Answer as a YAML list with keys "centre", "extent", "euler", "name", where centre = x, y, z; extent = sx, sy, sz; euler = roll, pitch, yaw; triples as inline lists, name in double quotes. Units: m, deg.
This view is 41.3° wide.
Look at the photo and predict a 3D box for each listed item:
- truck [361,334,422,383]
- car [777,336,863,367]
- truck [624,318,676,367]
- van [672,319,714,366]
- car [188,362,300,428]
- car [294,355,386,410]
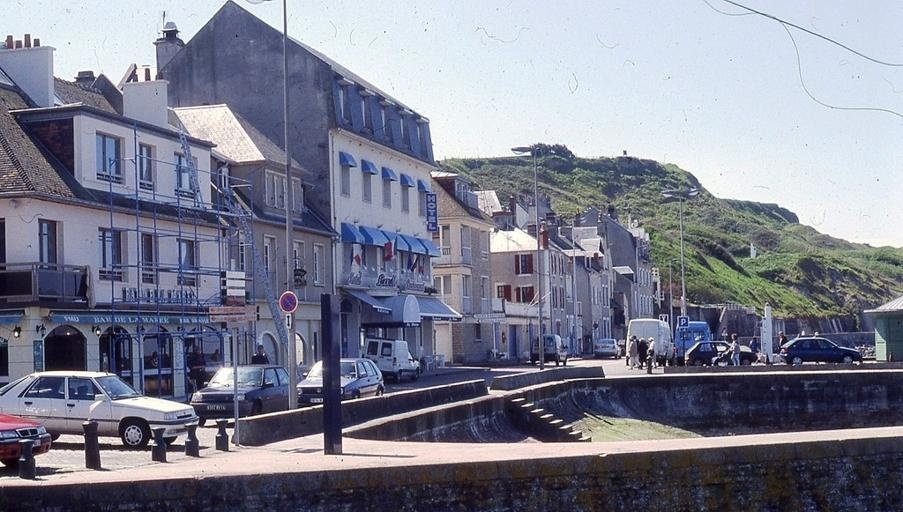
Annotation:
- centre: [-4.349, 6.382, 74.682]
  extent: [2.295, 3.420, 4.629]
  euler: [1, 0, 17]
  name: "truck"
- centre: [24.860, 6.449, 80.761]
  extent: [4.643, 1.601, 2.219]
  euler: [-3, -2, 6]
  name: "car"
- centre: [14.965, 6.269, 89.395]
  extent: [2.448, 2.702, 5.073]
  euler: [-1, 1, 20]
  name: "truck"
- centre: [18.482, 6.483, 92.632]
  extent: [2.227, 2.373, 3.738]
  euler: [-1, 1, 8]
  name: "van"
- centre: [-9.643, 6.509, 57.000]
  extent: [2.597, 2.002, 4.625]
  euler: [-3, -6, 20]
  name: "car"
- centre: [-5.250, 6.619, 60.966]
  extent: [2.848, 2.563, 7.235]
  euler: [-1, -4, 12]
  name: "car"
